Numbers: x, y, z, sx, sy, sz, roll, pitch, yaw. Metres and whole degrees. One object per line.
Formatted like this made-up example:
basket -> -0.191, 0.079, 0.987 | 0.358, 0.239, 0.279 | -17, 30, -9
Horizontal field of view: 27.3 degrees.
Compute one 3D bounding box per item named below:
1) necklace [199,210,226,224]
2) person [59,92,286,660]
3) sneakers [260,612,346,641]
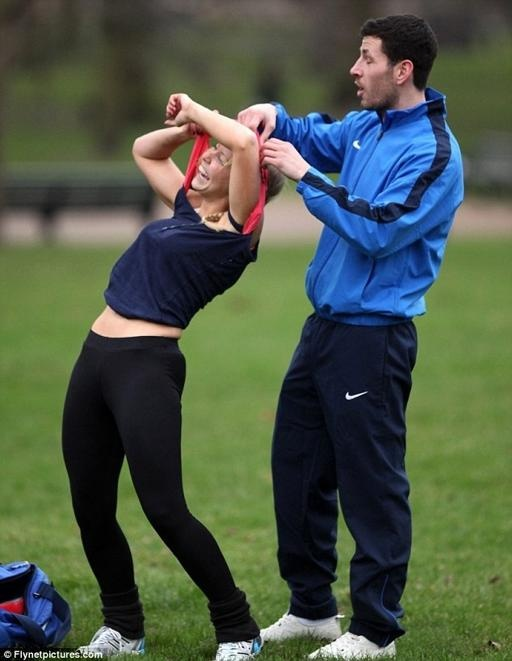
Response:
necklace -> -0.155, -0.402, 3.683 | 0.050, 0.019, 0.057 | -2, 28, 12
person -> -0.307, 0.214, 3.760 | 0.747, 2.077, 0.765 | 2, 15, 0
sneakers -> 0.182, 1.157, 4.127 | 0.349, 0.112, 0.105 | 2, -8, -2
